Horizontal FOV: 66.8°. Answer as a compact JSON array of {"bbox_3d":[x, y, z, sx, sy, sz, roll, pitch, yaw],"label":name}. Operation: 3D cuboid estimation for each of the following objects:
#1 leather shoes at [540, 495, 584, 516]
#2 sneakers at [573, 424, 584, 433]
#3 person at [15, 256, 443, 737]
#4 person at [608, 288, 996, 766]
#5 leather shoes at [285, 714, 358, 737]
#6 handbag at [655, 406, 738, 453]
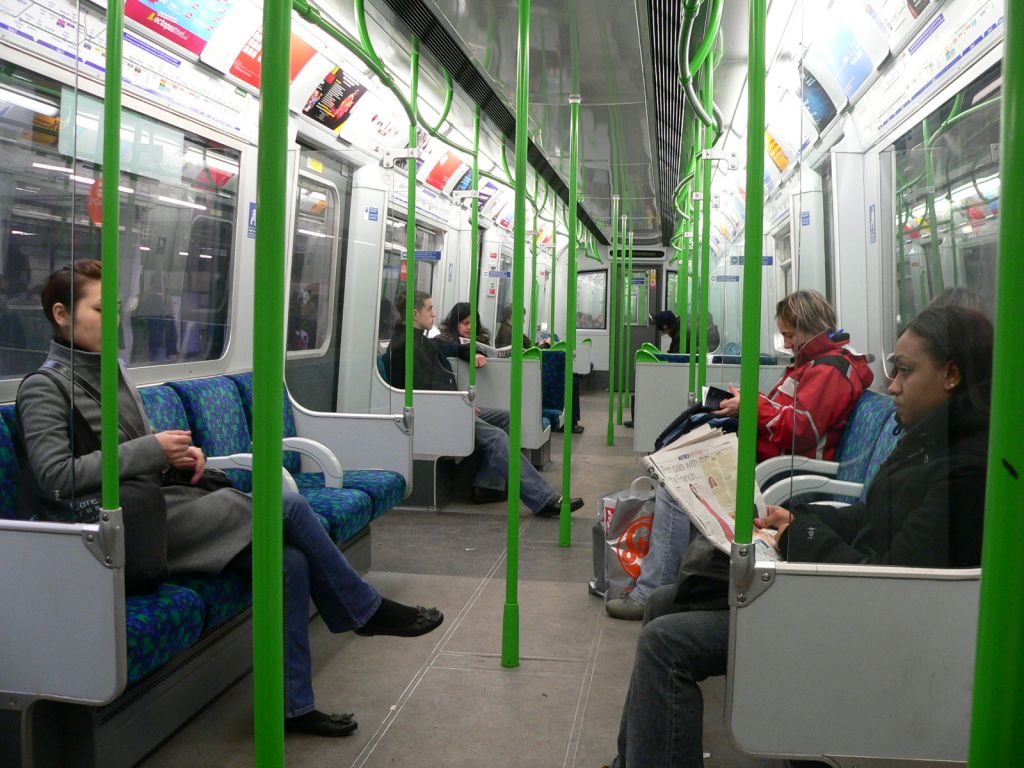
[{"bbox_3d":[0.329,0.911,5.894,0.421,0.199,0.153,-1,-2,0],"label":"leather shoes"},{"bbox_3d":[0.847,0.584,10.178,0.174,0.084,0.260,0,1,2],"label":"sneakers"},{"bbox_3d":[-1.037,0.457,2.727,0.845,1.688,1.333,3,5,19],"label":"person"},{"bbox_3d":[0.764,0.466,2.098,0.829,1.413,0.503,5,5,37],"label":"person"},{"bbox_3d":[-0.694,1.259,2.863,0.255,0.097,0.106,-1,-1,0],"label":"leather shoes"},{"bbox_3d":[0.975,0.203,4.137,0.401,0.169,0.322,-28,-1,41],"label":"handbag"}]
